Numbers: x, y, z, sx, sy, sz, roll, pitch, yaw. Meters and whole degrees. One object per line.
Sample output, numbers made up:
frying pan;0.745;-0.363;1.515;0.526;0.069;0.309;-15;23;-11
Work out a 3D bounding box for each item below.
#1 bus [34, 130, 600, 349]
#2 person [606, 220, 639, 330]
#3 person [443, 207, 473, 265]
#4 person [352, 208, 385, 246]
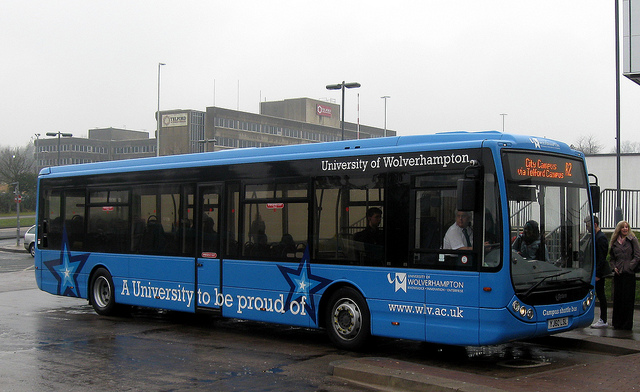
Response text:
bus;-1.231;0.936;17.099;15.386;4.674;3.497;1;3;30
person;7.404;1.926;16.023;0.658;2.586;0.547;1;4;30
person;2.771;0.856;13.148;0.752;0.959;0.414;6;-5;42
person;1.091;0.646;14.203;0.445;0.783;0.898;-7;5;21
